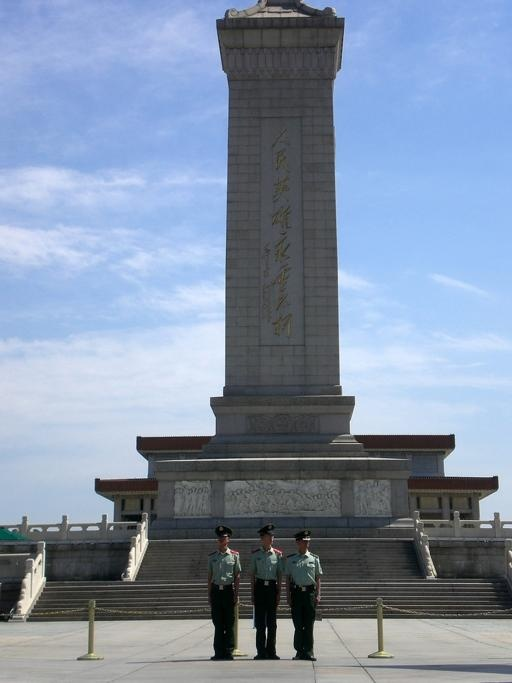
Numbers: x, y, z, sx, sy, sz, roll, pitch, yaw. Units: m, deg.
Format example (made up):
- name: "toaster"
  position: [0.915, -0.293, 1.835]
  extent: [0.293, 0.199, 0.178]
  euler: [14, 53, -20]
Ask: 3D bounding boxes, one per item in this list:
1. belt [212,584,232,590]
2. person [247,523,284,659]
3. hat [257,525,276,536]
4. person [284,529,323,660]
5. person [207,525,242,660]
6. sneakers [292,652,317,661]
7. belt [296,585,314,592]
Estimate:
- name: "belt"
  position: [-0.442, 3.274, 15.933]
  extent: [0.231, 0.062, 0.030]
  euler: [-5, -1, 1]
- name: "person"
  position: [0.129, 3.303, 15.798]
  extent: [0.452, 1.600, 0.703]
  euler: [-7, -2, 15]
- name: "hat"
  position: [0.142, 2.520, 16.051]
  extent: [0.269, 0.132, 0.262]
  euler: [6, -10, -24]
- name: "person"
  position: [0.656, 3.371, 15.771]
  extent: [0.486, 1.566, 0.910]
  euler: [-6, -1, 0]
- name: "person"
  position: [-0.424, 3.346, 15.949]
  extent: [0.485, 1.583, 0.692]
  euler: [-6, -1, -2]
- name: "sneakers"
  position: [0.640, 4.042, 15.416]
  extent: [0.329, 0.194, 0.102]
  euler: [-1, -7, 5]
- name: "belt"
  position: [0.650, 3.227, 15.650]
  extent: [0.234, 0.071, 0.050]
  euler: [-4, -2, -11]
